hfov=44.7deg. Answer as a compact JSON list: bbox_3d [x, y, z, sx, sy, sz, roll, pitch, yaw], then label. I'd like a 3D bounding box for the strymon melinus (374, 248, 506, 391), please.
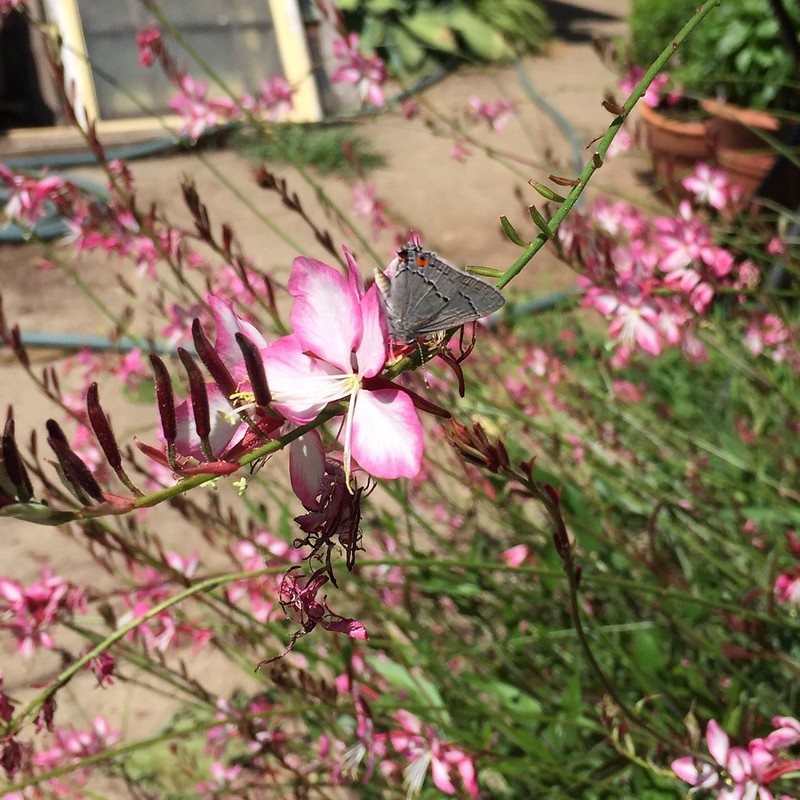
[{"bbox_3d":[0.034,-0.114,1.153,0.178,0.125,0.071,22,39,38],"label":"strymon melinus"}]
